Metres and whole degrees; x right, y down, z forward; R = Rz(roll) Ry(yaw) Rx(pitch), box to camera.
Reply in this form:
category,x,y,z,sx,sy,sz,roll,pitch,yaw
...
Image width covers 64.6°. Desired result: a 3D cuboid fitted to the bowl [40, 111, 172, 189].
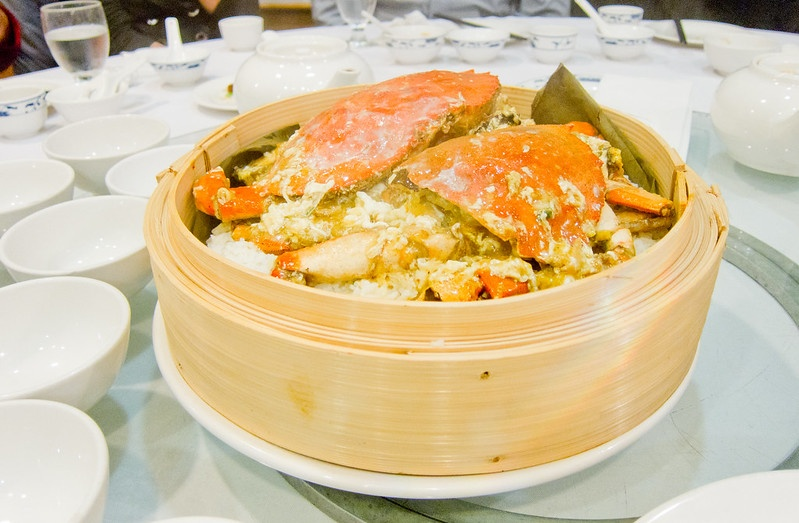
category,x,y,z,sx,sy,sz,roll,pitch,yaw
bowl,-1.112,-0.496,2.410,0.384,0.166,0.363,5,38,-4

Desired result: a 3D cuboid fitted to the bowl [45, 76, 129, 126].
category,x,y,z,sx,sy,sz,roll,pitch,yaw
bowl,-1.389,-0.719,2.802,0.285,0.095,0.268,-1,31,1

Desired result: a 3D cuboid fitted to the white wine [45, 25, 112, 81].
category,x,y,z,sx,sy,sz,roll,pitch,yaw
white wine,-1.422,-0.936,2.839,0.230,0.183,0.240,-8,30,-9

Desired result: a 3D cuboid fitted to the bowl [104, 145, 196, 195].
category,x,y,z,sx,sy,sz,roll,pitch,yaw
bowl,-0.889,-0.323,2.306,0.279,0.101,0.258,3,40,-2
